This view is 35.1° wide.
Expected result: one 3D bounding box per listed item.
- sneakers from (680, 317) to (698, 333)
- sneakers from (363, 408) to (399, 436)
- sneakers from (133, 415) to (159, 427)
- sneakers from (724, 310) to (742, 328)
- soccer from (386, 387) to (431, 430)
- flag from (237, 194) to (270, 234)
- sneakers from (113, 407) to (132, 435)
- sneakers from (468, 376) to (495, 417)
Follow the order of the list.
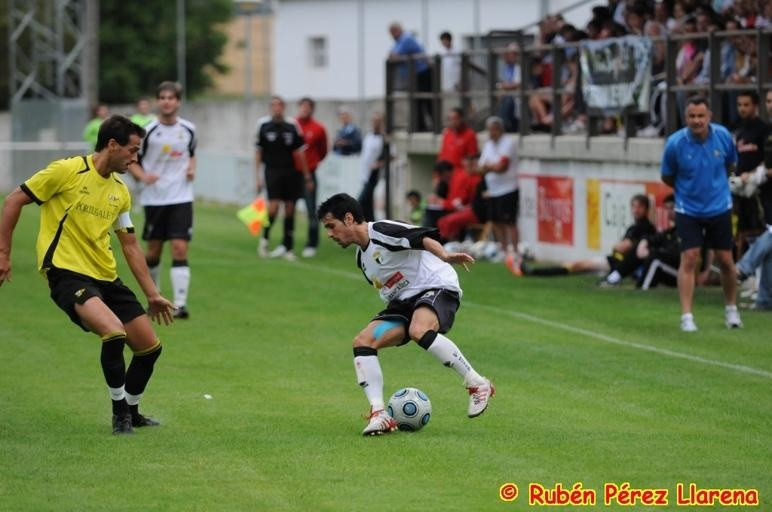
[{"bbox_3d":[2.708,0.622,10.887,0.157,0.135,0.068,3,10,20],"label":"sneakers"},{"bbox_3d":[-0.060,1.371,10.021,0.350,0.192,0.129,-5,-25,-48],"label":"sneakers"},{"bbox_3d":[-2.018,1.366,10.155,0.250,0.099,0.082,-2,7,-20],"label":"sneakers"},{"bbox_3d":[3.047,0.559,10.668,0.087,0.091,0.195,-2,2,0],"label":"sneakers"},{"bbox_3d":[0.203,1.289,10.255,0.333,0.339,0.341,-31,-21,26],"label":"soccer"},{"bbox_3d":[-1.137,-0.351,10.622,0.301,0.311,0.106,-40,9,-22],"label":"flag"},{"bbox_3d":[-2.160,1.356,9.951,0.206,0.239,0.170,2,-8,-26],"label":"sneakers"},{"bbox_3d":[0.788,1.193,10.146,0.210,0.309,0.192,0,9,2],"label":"sneakers"}]
